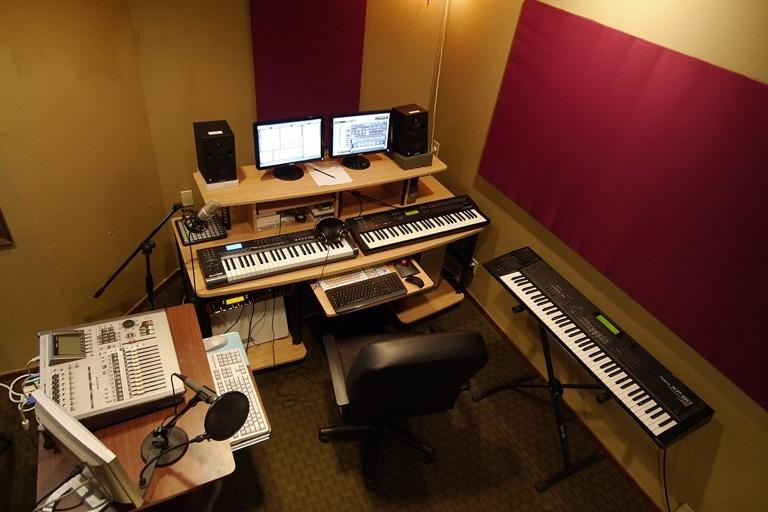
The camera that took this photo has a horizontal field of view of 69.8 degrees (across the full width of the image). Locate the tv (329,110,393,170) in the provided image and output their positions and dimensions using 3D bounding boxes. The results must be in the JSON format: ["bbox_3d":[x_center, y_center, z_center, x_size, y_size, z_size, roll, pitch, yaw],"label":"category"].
[{"bbox_3d":[-0.216,-0.996,4.657,0.540,0.499,0.249,-11,39,-20],"label":"tv"}]

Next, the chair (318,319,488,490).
[{"bbox_3d":[0.132,1.170,4.026,0.850,1.329,0.906,-1,53,-12],"label":"chair"}]

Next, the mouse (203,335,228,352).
[{"bbox_3d":[-1.185,0.611,3.854,0.136,0.035,0.086,-18,69,-15],"label":"mouse"}]

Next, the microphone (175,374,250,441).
[{"bbox_3d":[-1.020,0.885,3.230,0.428,0.249,0.243,18,56,41],"label":"microphone"}]

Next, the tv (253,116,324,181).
[{"bbox_3d":[-0.768,-0.864,4.404,0.462,0.377,0.197,-10,43,-25],"label":"tv"}]

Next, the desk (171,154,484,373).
[{"bbox_3d":[-0.556,0.613,5.426,2.892,1.590,1.724,-19,63,-15],"label":"desk"}]

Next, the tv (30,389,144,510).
[{"bbox_3d":[-1.696,1.120,3.159,0.177,0.488,0.687,-35,72,-32],"label":"tv"}]

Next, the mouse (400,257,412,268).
[{"bbox_3d":[0.176,0.054,4.563,0.099,0.056,0.076,-28,39,33],"label":"mouse"}]

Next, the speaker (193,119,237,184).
[{"bbox_3d":[-1.326,-0.812,4.311,0.251,0.415,0.383,-11,30,-25],"label":"speaker"}]
